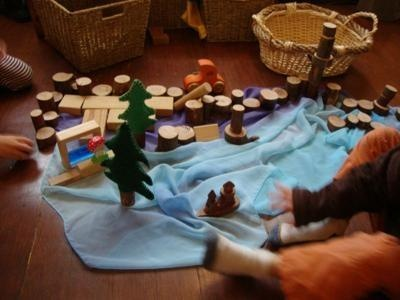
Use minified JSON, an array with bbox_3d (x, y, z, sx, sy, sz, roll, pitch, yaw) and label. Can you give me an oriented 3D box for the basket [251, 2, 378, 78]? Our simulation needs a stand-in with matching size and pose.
[{"bbox_3d":[0.835,-0.872,2.366,0.708,0.427,0.839,1,42,0],"label":"basket"}]
